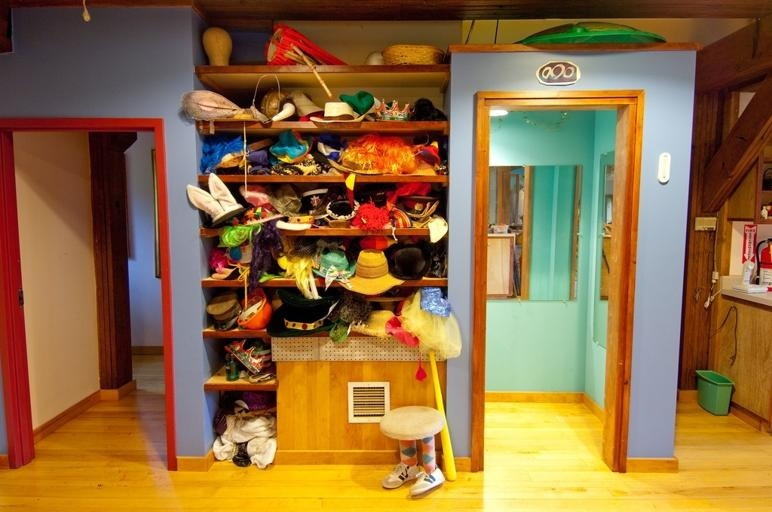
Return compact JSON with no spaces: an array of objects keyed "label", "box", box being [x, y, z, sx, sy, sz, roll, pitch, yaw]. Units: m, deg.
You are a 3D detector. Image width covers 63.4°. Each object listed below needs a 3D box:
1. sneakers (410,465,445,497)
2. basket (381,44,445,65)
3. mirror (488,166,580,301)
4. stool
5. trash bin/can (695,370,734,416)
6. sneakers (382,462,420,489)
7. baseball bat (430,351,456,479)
[{"label":"sneakers","box":[0.354,1.872,5.171,0.369,0.132,0.139,-1,-14,-42]},{"label":"basket","box":[0.226,-1.727,5.344,0.289,0.083,0.274,5,8,17]},{"label":"mirror","box":[1.462,-0.296,6.081,1.449,1.540,0.108,-1,7,-2]},{"label":"stool","box":[0.220,1.656,5.239,0.584,0.530,0.550,-2,-2,-21]},{"label":"trash bin/can","box":[3.201,1.320,6.269,0.357,0.408,0.522,2,2,5]},{"label":"sneakers","box":[0.134,1.827,5.299,0.384,0.135,0.149,-9,2,-23]},{"label":"baseball bat","box":[0.496,1.418,5.341,0.175,1.224,0.173,-7,3,11]}]
